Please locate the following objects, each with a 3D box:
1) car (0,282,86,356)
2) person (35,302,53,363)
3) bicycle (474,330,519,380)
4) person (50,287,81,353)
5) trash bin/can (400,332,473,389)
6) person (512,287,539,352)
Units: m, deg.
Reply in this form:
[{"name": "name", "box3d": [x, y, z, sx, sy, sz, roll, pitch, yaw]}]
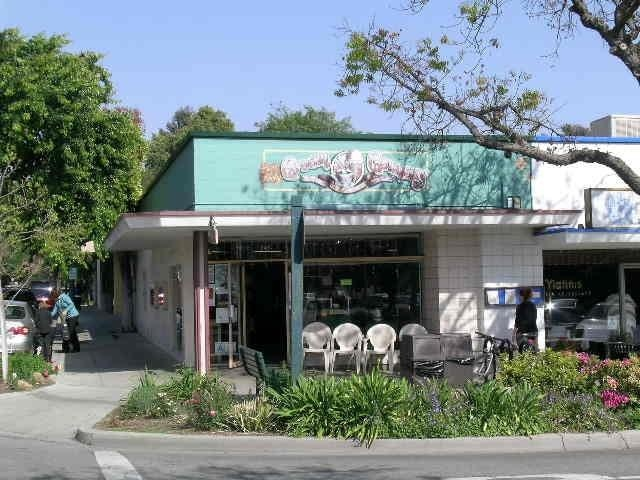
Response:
[{"name": "car", "box3d": [-7.922, 2.369, 23.645, 1.900, 1.778, 4.703, 0, 0, -5]}, {"name": "person", "box3d": [-7.180, 2.382, 21.449, 0.439, 1.558, 0.399, 0, -3, -21]}, {"name": "bicycle", "box3d": [3.680, 2.447, 17.181, 0.729, 0.839, 1.270, 3, -2, 13]}, {"name": "person", "box3d": [-7.568, 2.331, 24.341, 1.016, 1.882, 0.837, -6, -4, -36]}, {"name": "trash bin/can", "box3d": [2.432, 2.452, 16.916, 1.499, 0.999, 0.853, -2, -4, 8]}, {"name": "person", "box3d": [4.554, 1.766, 18.083, 0.480, 1.412, 1.153, -2, -4, 13]}]
